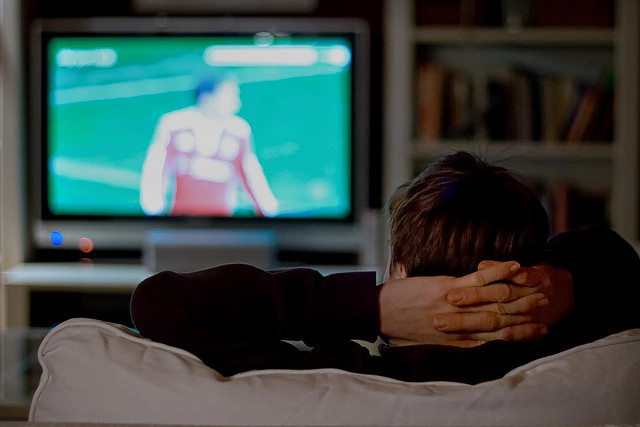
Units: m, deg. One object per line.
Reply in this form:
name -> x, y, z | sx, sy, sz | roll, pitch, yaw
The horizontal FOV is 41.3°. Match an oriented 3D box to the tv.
tv -> -0.533, -0.356, 3.781 | 1.213, 0.783, 0.164 | 1, 6, 0
